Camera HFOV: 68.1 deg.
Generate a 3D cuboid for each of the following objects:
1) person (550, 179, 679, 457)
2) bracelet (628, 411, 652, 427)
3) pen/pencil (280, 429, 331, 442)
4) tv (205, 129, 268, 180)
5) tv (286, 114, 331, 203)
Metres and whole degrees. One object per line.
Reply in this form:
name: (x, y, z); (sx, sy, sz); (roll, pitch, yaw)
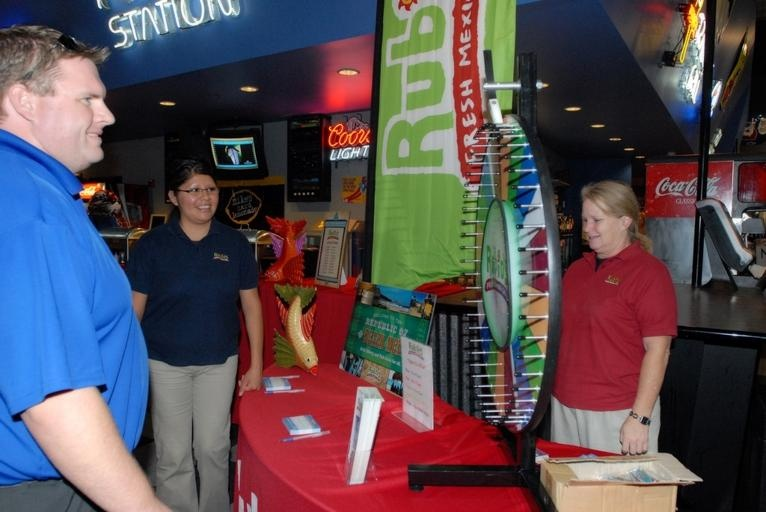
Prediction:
person: (1.019, 0.285, 2.538); (0.513, 1.187, 0.542); (-14, 18, -40)
bracelet: (1.059, 0.680, 2.336); (0.079, 0.051, 0.075); (28, -47, -18)
pen/pencil: (-0.296, 0.686, 2.155); (0.154, 0.008, 0.025); (-3, 13, -20)
tv: (-2.296, -1.494, 8.589); (0.868, 0.726, 0.419); (-9, 0, -36)
tv: (-1.078, -1.401, 8.091); (0.618, 1.173, 0.246); (5, 15, 26)
